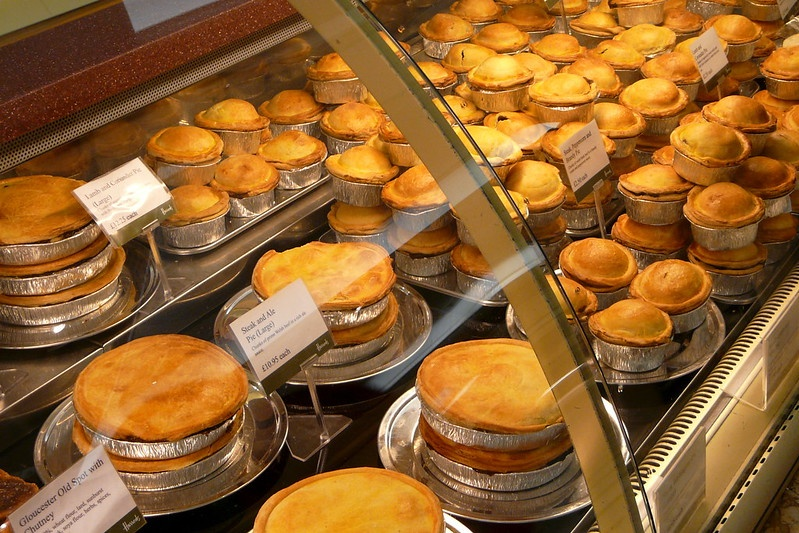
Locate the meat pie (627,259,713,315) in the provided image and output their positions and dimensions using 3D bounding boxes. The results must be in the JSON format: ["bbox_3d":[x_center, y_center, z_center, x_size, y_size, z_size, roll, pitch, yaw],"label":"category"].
[{"bbox_3d":[0.832,0.064,1.864,0.168,0.072,0.200,-17,40,-2],"label":"meat pie"}]

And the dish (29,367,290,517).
[{"bbox_3d":[-0.474,0.404,1.355,0.337,0.026,0.335,-12,34,-21],"label":"dish"}]

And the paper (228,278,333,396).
[{"bbox_3d":[-0.272,0.163,1.419,0.242,0.238,0.056,-38,20,-26],"label":"paper"}]

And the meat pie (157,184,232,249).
[{"bbox_3d":[-0.599,-0.131,1.822,0.169,0.109,0.187,14,34,14],"label":"meat pie"}]
